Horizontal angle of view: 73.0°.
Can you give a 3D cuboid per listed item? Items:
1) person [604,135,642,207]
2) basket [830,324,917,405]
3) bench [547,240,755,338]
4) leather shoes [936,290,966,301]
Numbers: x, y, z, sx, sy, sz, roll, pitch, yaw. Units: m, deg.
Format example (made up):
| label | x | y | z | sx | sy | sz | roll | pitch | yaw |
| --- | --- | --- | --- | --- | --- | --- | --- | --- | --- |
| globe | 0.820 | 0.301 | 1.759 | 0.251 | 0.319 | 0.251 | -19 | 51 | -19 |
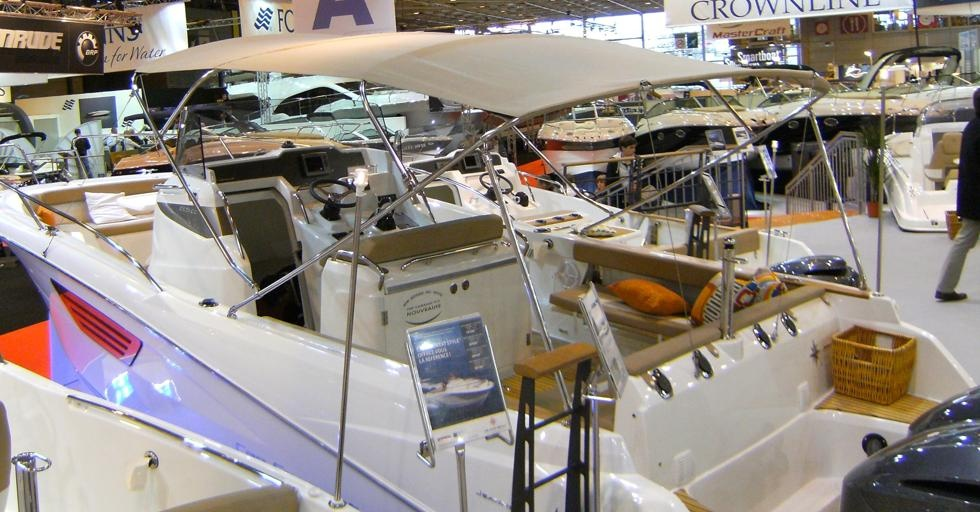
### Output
| label | x | y | z | sx | sy | sz | roll | pitch | yaw |
| --- | --- | --- | --- | --- | --- | --- | --- | --- | --- |
| person | 1.699 | -1.012 | 8.444 | 0.329 | 1.010 | 0.363 | 1 | 30 | 0 |
| basket | 2.724 | 0.784 | 4.796 | 0.560 | 0.454 | 0.551 | 6 | 8 | 36 |
| bench | 1.160 | 0.176 | 5.146 | 1.623 | 0.512 | 0.680 | 16 | 30 | 42 |
| leather shoes | 4.685 | 0.413 | 6.704 | 0.318 | 0.121 | 0.112 | -2 | 12 | -1 |
